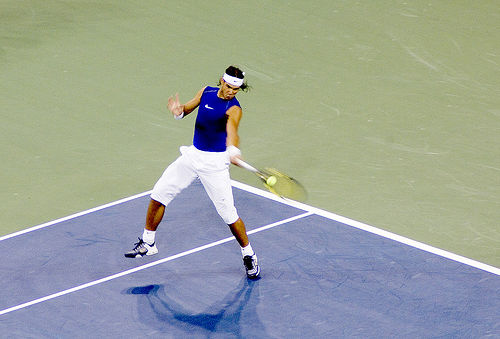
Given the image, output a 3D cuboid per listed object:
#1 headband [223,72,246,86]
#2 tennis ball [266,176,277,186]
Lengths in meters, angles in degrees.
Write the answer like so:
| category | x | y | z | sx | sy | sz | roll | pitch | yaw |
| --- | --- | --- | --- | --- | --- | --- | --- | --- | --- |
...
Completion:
| category | x | y | z | sx | sy | sz | roll | pitch | yaw |
| --- | --- | --- | --- | --- | --- | --- | --- | --- | --- |
| headband | -0.198 | -1.052 | 8.236 | 0.238 | 0.174 | 0.154 | 1 | 39 | -5 |
| tennis ball | 0.265 | 0.134 | 8.186 | 0.115 | 0.095 | 0.081 | 3 | 4 | -40 |
